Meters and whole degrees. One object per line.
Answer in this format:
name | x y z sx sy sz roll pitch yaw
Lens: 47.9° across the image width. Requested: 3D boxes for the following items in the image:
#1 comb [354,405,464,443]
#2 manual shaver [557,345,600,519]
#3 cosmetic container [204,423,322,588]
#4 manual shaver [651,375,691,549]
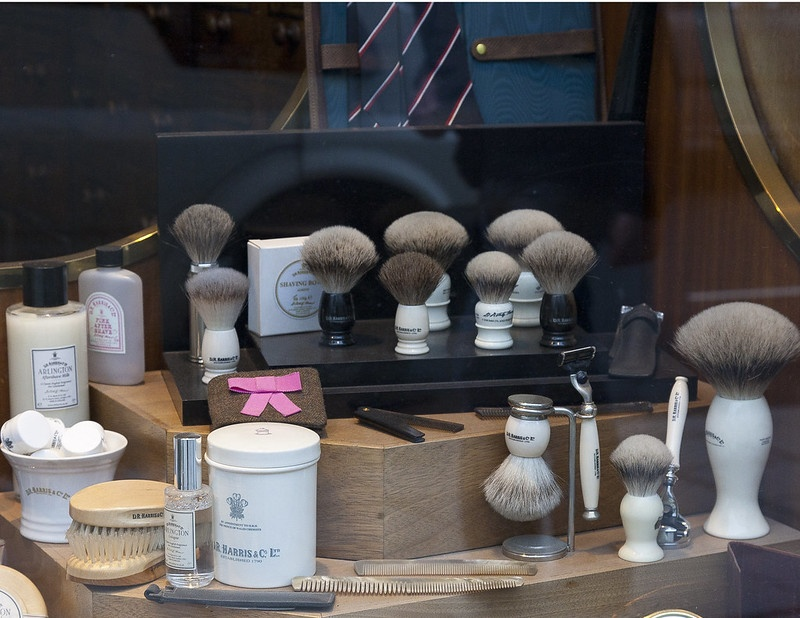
comb | -0.002 0.170 1.358 0.124 0.046 0.157 -7 12 -34
manual shaver | 0.272 0.183 1.340 0.077 0.246 0.082 -3 22 -15
cosmetic container | -0.199 0.278 1.289 0.181 0.194 0.180 -2 2 -31
manual shaver | 0.402 0.229 1.356 0.081 0.235 0.082 -8 14 -14
